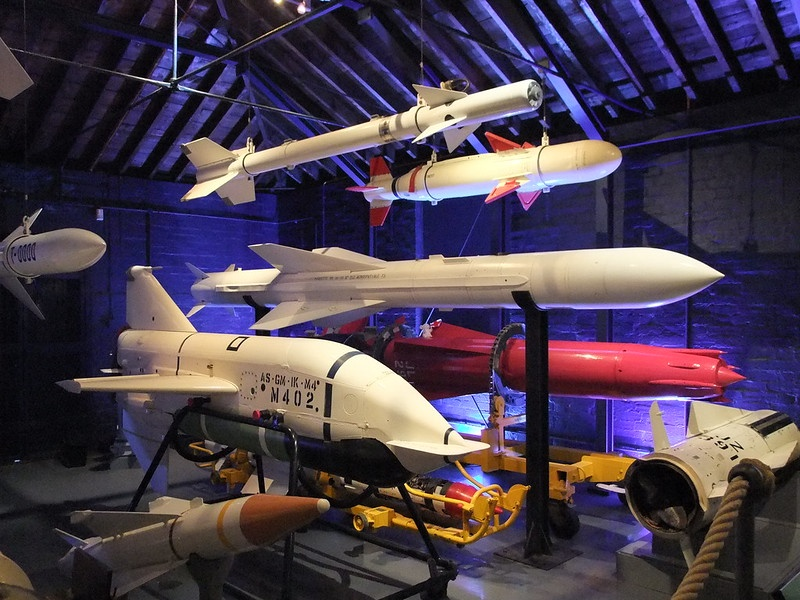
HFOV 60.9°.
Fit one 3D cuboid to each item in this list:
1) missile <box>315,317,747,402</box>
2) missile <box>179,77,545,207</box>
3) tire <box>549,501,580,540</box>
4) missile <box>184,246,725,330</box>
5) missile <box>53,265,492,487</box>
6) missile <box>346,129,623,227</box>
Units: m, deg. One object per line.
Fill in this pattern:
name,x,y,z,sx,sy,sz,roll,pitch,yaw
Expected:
missile,2.132,1.149,10.051,5.300,1.730,1.868,0,2,32
missile,-0.667,-2.133,8.826,4.932,1.034,1.109,-8,-14,26
tire,1.991,2.659,8.270,0.367,0.483,0.221,2,-2,4
missile,0.935,-0.153,9.211,7.854,1.087,1.721,-1,6,23
missile,-1.070,0.989,7.909,3.372,1.627,3.077,6,3,36
missile,1.065,-1.647,8.749,3.471,0.842,0.826,-3,2,32
